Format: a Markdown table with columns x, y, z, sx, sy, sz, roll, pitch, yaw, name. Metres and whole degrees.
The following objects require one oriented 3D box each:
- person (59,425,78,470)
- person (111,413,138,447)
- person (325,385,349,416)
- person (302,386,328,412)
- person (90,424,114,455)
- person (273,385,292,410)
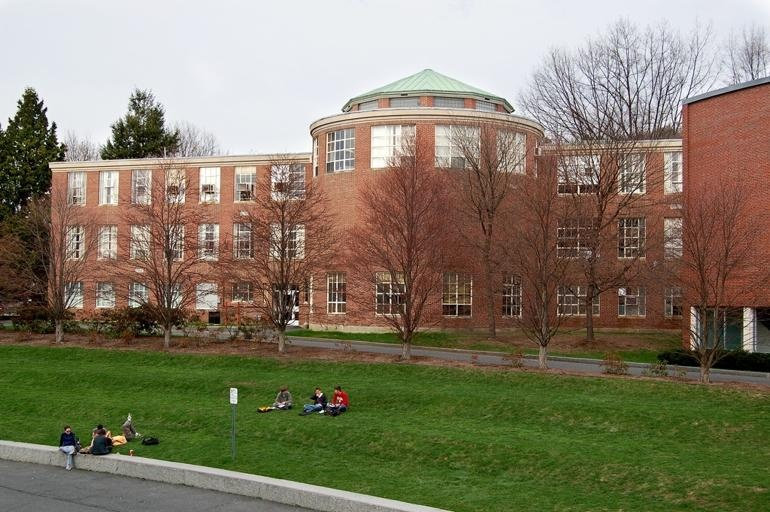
| x | y | z | sx | sy | sz | roll | pitch | yaw | name |
| --- | --- | --- | --- | --- | --- | --- | --- | --- | --- |
| -13.320 | 8.116 | 36.956 | 0.781 | 1.800 | 0.523 | 2 | -6 | -21 | person |
| -11.302 | 7.787 | 38.563 | 0.639 | 0.788 | 0.695 | -11 | 17 | 35 | person |
| -2.152 | 6.793 | 40.913 | 1.014 | 1.263 | 1.523 | -1 | -6 | 1 | person |
| -3.451 | 6.887 | 40.838 | 1.296 | 1.192 | 0.859 | 25 | -24 | -37 | person |
| -11.932 | 7.841 | 37.147 | 0.775 | 1.213 | 0.797 | -4 | -7 | 28 | person |
| -4.846 | 6.758 | 41.642 | 0.895 | 1.071 | 1.174 | 0 | -6 | -7 | person |
